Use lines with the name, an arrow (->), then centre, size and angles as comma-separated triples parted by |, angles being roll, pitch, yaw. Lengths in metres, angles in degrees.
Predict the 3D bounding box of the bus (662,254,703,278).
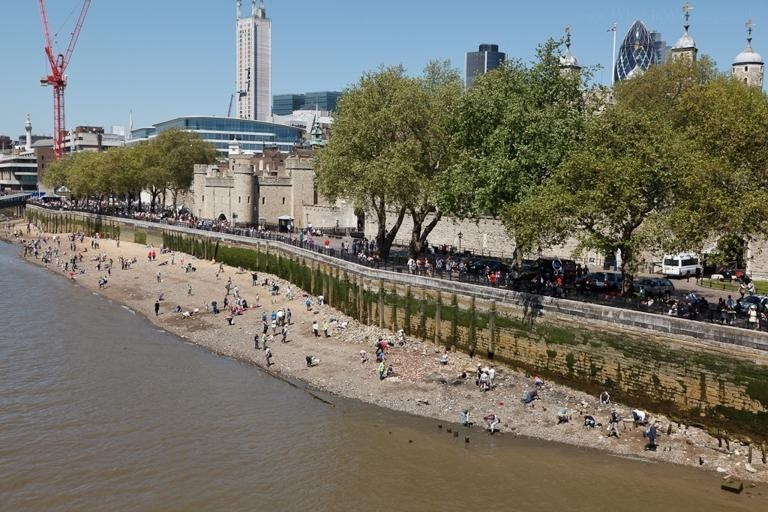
bus -> 34.145, 0.953, 118.561 | 4.482, 2.456, 2.741 | -10, 16, -30
